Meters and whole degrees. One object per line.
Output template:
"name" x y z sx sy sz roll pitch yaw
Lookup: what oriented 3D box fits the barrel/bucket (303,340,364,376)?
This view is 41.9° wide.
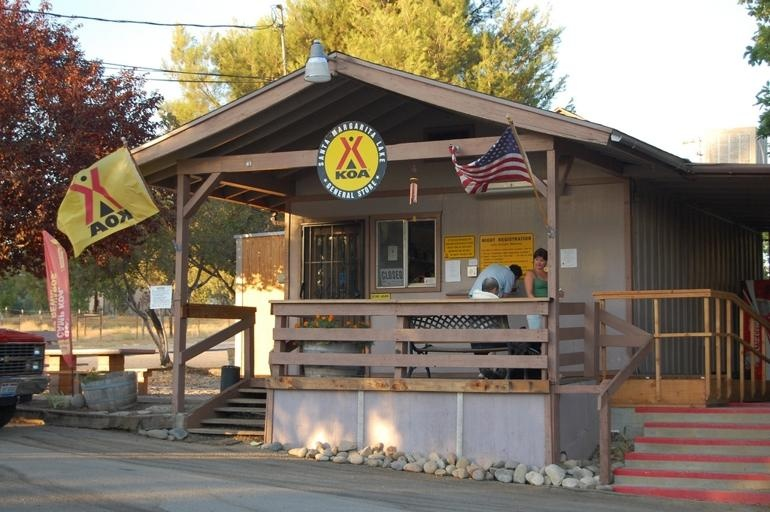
"barrel/bucket" -0.976 1.871 18.545 1.150 0.696 1.063 1 2 0

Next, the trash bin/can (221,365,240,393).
"trash bin/can" -3.205 2.456 20.371 0.426 0.508 0.439 1 1 4

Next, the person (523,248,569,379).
"person" 2.676 0.990 18.047 0.401 2.232 1.499 1 2 8

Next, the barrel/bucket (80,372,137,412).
"barrel/bucket" -5.552 2.722 20.195 0.784 0.506 0.810 -2 -5 0

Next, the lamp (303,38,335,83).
"lamp" -1.237 -3.444 17.664 0.474 0.679 0.486 -1 2 17

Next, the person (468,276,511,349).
"person" 1.807 1.079 17.878 0.671 1.436 0.939 1 2 4

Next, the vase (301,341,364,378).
"vase" -1.001 1.836 18.573 0.664 0.564 0.965 -1 -5 18

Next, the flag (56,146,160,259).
"flag" -5.627 -1.146 20.050 1.984 1.580 0.322 -31 -1 9

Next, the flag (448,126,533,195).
"flag" 1.909 -1.705 17.924 1.704 0.218 1.714 -11 -39 19

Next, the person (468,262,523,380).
"person" 1.942 1.048 18.142 0.970 2.167 0.697 16 -11 -19
